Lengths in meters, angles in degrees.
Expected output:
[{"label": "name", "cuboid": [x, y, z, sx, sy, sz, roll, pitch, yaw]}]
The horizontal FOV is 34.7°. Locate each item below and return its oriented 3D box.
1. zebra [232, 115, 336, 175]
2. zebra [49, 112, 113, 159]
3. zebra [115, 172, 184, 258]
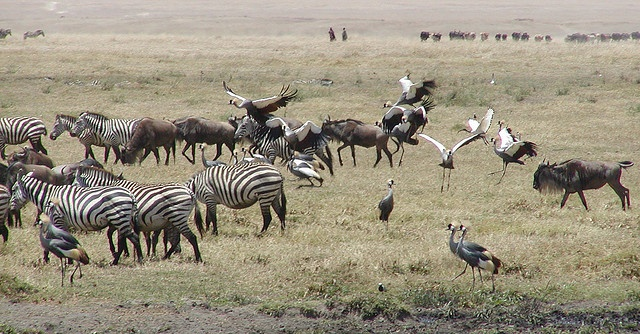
[{"label": "zebra", "cuboid": [-2.578, -1.536, 79.097, 7.718, 3.977, 1.754, 0, 5, 3]}, {"label": "zebra", "cuboid": [-18.112, -2.243, 80.042, 6.337, 3.566, 1.592, 1, 10, 18]}, {"label": "zebra", "cuboid": [-12.460, 3.739, 74.477, 8.539, 6.182, 3.848, 0, -1, 32]}]
